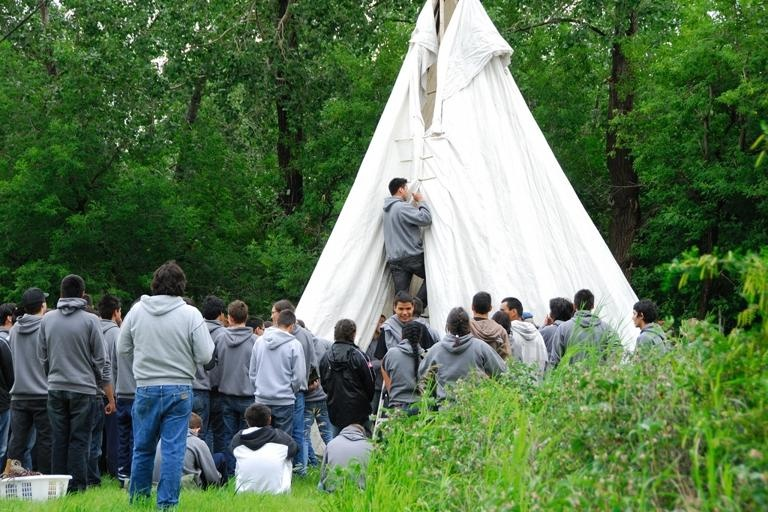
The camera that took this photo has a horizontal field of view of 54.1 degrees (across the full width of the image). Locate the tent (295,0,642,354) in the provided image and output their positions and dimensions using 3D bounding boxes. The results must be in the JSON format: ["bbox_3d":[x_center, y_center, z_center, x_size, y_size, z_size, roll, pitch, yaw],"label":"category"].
[{"bbox_3d":[1.452,-1.053,12.849,5.161,6.636,4.623,-3,-9,10],"label":"tent"}]
